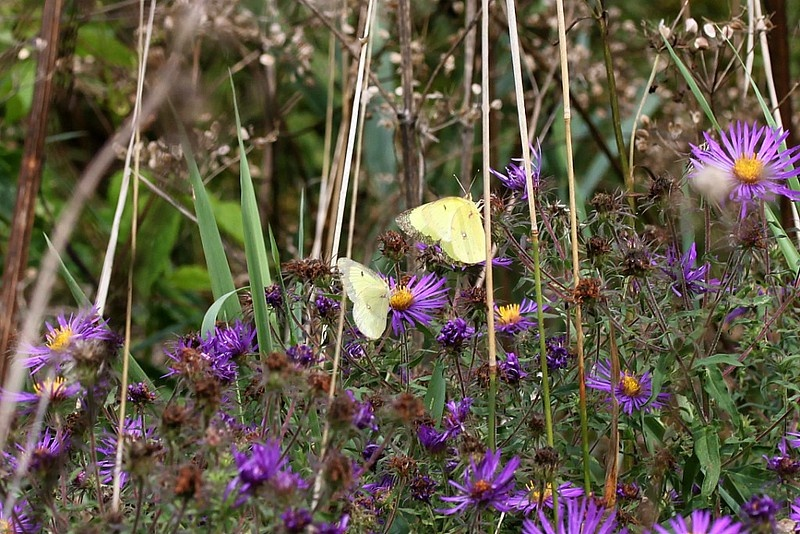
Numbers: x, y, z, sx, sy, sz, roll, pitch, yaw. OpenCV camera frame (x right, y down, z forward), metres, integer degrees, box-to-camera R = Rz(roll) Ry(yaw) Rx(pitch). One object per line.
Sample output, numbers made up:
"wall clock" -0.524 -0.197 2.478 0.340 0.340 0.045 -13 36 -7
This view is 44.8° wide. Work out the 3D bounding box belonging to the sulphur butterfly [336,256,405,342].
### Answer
"sulphur butterfly" -0.067 0.068 2.225 0.099 0.181 0.153 -4 8 -20
